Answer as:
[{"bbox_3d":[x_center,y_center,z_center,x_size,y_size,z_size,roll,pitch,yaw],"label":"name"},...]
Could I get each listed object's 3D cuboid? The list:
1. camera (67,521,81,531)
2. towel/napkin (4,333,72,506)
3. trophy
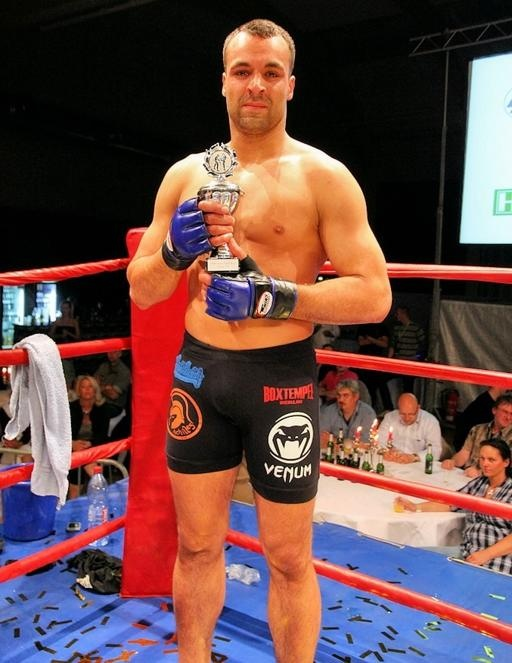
[{"bbox_3d":[-0.762,0.809,2.339,0.033,0.011,0.029,0,19,-7],"label":"camera"},{"bbox_3d":[-0.627,0.272,1.619,0.185,0.529,0.168,2,7,-17],"label":"towel/napkin"},{"bbox_3d":[-0.073,-0.256,1.145,0.104,0.245,0.092,-1,6,-8],"label":"trophy"}]
